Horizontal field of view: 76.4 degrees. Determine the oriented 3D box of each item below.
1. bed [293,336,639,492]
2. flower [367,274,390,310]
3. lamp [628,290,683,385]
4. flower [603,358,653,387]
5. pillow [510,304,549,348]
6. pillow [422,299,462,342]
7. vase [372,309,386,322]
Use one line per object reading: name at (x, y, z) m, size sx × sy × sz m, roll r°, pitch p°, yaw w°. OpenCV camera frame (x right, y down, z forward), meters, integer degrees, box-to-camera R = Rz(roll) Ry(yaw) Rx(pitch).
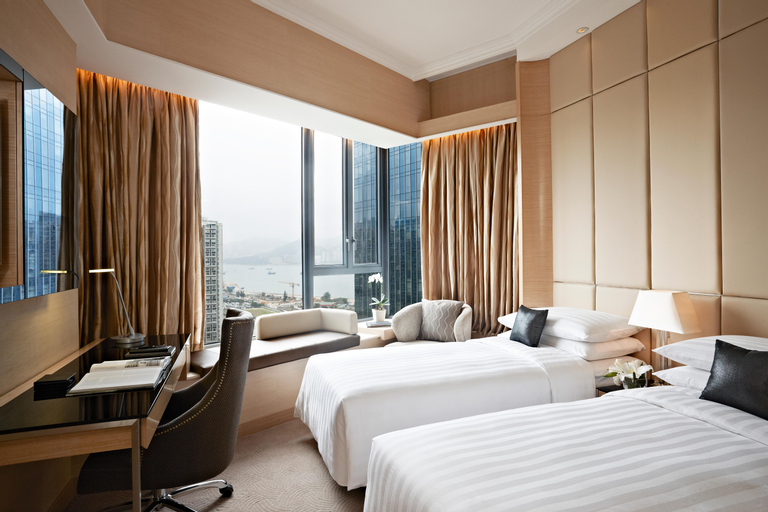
bed at (0.474, 0.996, 3.841) m, size 1.787 × 0.504 × 1.165 m, roll -3°, pitch 3°, yaw -22°
flower at (-0.079, 0.470, 6.202) m, size 0.279 × 0.502 × 0.738 m, roll -1°, pitch 0°, yaw 1°
lamp at (2.183, 0.541, 3.807) m, size 0.306 × 0.699 × 0.506 m, roll 3°, pitch -5°, yaw -29°
flower at (1.942, 0.920, 3.889) m, size 0.302 × 0.133 × 0.302 m, roll -10°, pitch -6°, yaw 24°
pillow at (1.311, 0.630, 4.408) m, size 0.102 × 0.307 × 0.330 m, roll 21°, pitch -1°, yaw -31°
pillow at (0.626, 0.708, 5.268) m, size 0.399 × 0.376 × 0.155 m, roll -3°, pitch -26°, yaw 37°
vase at (-0.057, 0.714, 5.951) m, size 0.153 × 0.151 × 0.228 m, roll -1°, pitch 0°, yaw -4°
